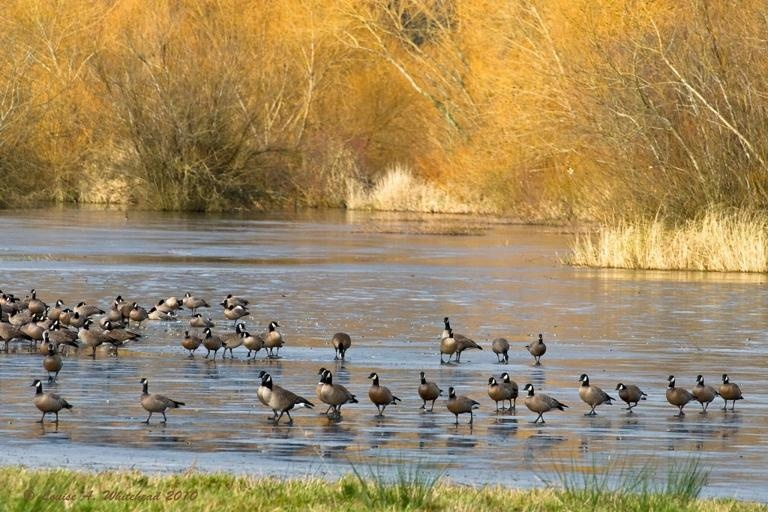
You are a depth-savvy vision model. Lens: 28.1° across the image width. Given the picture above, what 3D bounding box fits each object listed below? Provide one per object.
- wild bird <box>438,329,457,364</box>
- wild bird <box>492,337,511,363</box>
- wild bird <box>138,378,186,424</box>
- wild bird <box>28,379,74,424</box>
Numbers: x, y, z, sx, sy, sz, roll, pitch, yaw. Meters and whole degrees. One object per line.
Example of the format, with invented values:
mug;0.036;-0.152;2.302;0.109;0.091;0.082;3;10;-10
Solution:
wild bird;1.746;2.435;41.338;0.463;0.843;1.088;1;13;0
wild bird;3.173;2.486;41.531;0.440;0.645;0.756;1;13;3
wild bird;-5.434;3.526;37.056;1.376;1.061;0.666;-1;-3;41
wild bird;-8.124;3.450;36.939;1.366;1.068;0.600;4;0;38
